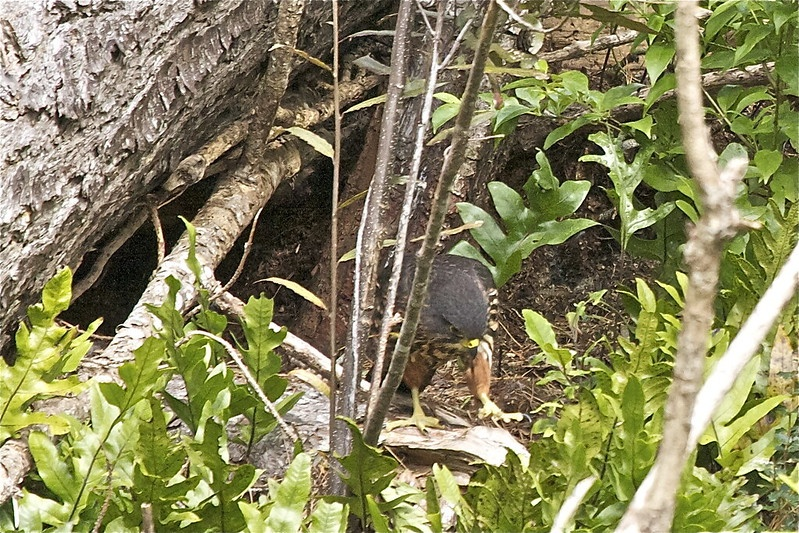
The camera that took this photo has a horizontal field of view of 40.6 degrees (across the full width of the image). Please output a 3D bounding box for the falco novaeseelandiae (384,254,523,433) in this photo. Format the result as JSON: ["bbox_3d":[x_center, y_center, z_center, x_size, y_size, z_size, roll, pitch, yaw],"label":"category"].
[{"bbox_3d":[0.104,0.209,3.833,0.394,0.597,0.938,-7,16,-13],"label":"falco novaeseelandiae"}]
